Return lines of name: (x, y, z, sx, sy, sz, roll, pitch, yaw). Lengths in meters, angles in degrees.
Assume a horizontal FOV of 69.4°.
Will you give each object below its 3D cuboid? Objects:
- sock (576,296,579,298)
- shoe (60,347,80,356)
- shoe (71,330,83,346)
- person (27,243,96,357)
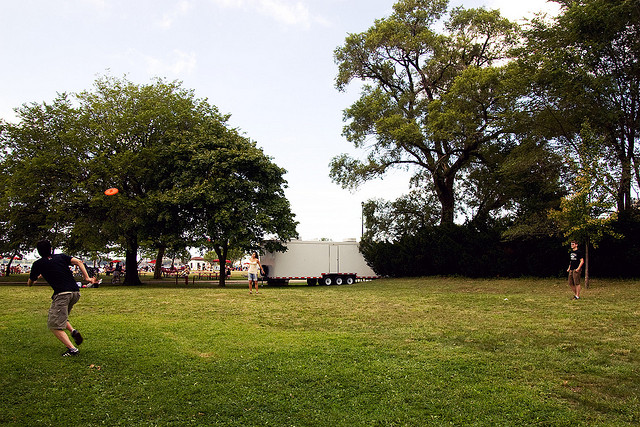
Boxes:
sock: (11.626, 3.810, 20.985, 0.090, 0.087, 0.020, -1, -19, -32)
shoe: (-7.089, 3.996, 13.228, 0.561, 0.264, 0.186, 6, -12, -15)
shoe: (-7.126, 3.664, 13.577, 0.239, 0.448, 0.409, -6, 11, -34)
person: (-7.475, 2.407, 13.478, 1.447, 3.198, 1.052, 4, 10, 24)
